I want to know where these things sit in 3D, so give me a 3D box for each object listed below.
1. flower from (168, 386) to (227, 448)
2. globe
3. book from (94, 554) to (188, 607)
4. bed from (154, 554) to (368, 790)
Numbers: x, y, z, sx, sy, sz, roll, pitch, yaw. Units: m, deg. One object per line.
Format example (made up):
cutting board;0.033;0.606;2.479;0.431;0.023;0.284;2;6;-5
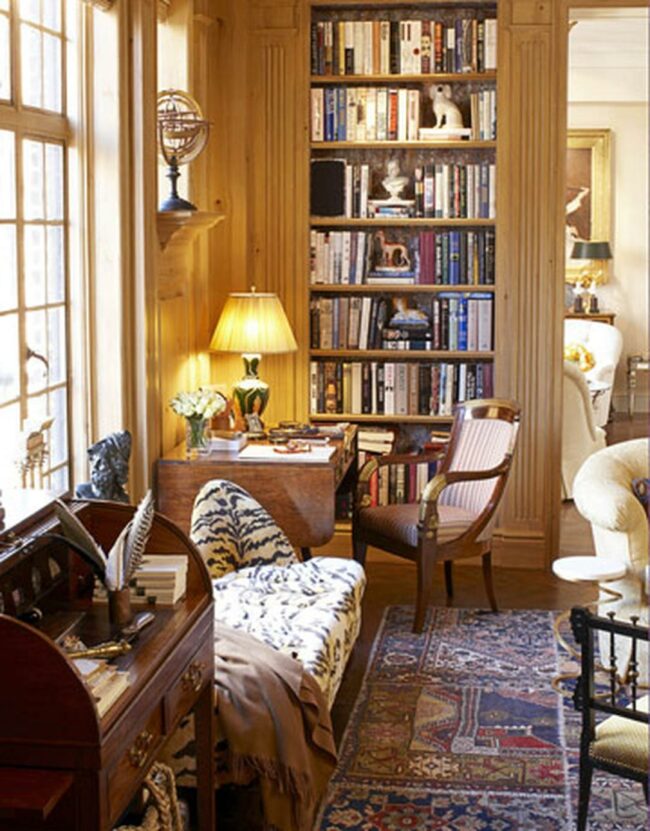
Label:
flower;-0.554;0.004;3.573;0.271;0.289;0.263;0;0;-5
globe;-0.650;-1.191;3.592;0.232;0.628;0.590;-3;4;-8
book;-0.385;0.345;1.616;0.145;0.049;0.146;0;3;5
bed;-0.136;0.658;2.656;0.453;0.283;1.336;-1;8;4
